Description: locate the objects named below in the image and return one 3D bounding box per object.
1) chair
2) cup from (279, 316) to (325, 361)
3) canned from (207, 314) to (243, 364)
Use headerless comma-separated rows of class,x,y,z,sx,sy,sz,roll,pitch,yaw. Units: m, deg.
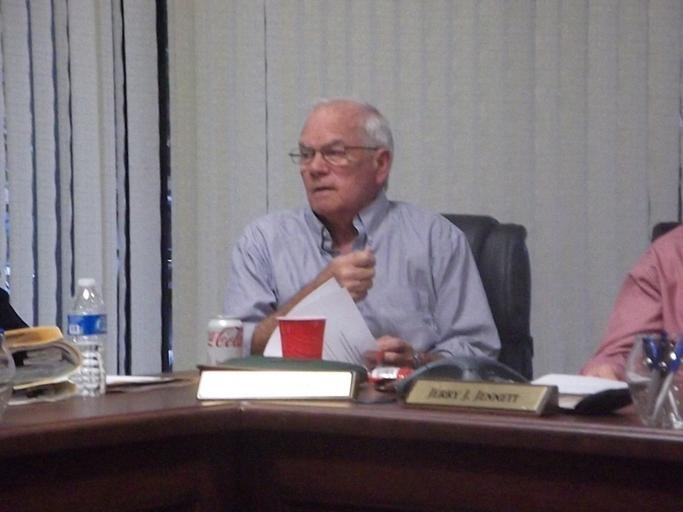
chair,0.513,0.125,2.933,0.241,0.476,0.368,-5,14,-11
cup,-0.100,0.209,2.266,0.097,0.084,0.100,-1,-3,0
canned,-0.300,0.222,2.352,0.103,0.183,0.108,-1,-3,7
